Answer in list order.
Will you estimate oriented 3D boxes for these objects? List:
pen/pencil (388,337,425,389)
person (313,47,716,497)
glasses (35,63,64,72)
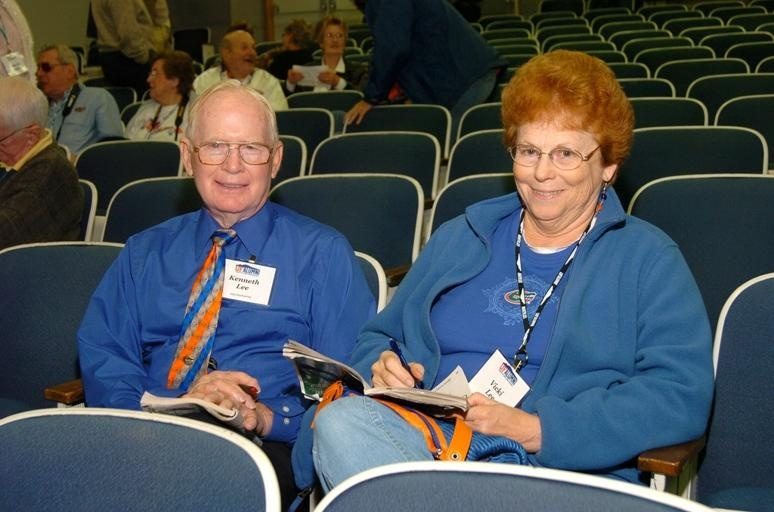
[{"bbox_3d":[0.061,0.344,1.956,0.020,0.168,0.025,-28,-8,-45],"label":"pen/pencil"},{"bbox_3d":[0.371,0.020,1.865,1.032,1.157,0.859,-6,23,-15],"label":"person"},{"bbox_3d":[-2.991,-1.679,5.495,0.111,0.044,0.119,2,8,10],"label":"glasses"}]
